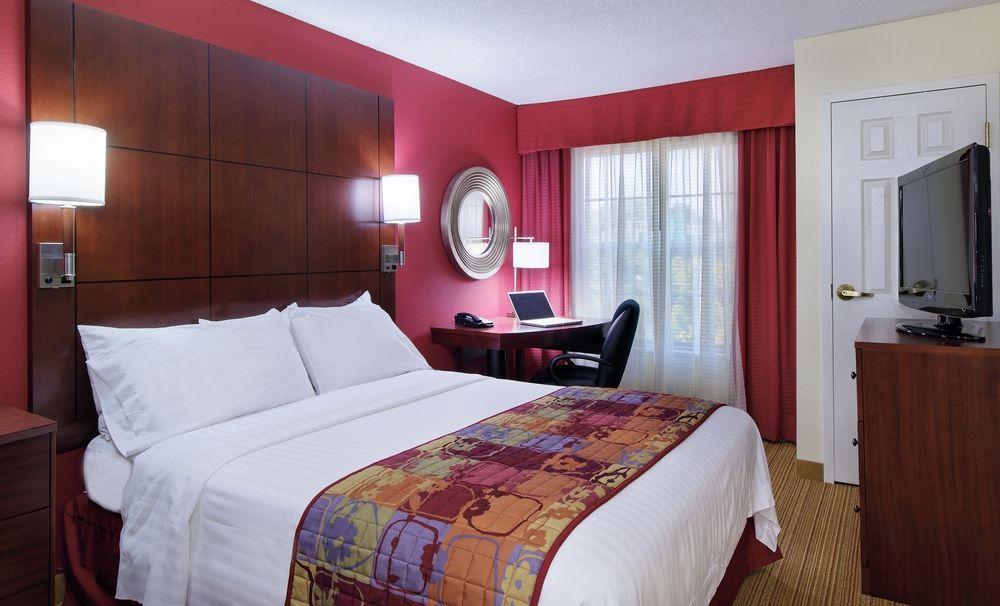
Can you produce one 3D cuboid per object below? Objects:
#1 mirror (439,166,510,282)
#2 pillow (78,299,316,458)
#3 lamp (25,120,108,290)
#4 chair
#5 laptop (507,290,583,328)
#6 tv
[{"bbox_3d":[-0.229,-0.778,6.038,0.105,1.046,1.118,4,12,32],"label":"mirror"},{"bbox_3d":[-1.810,0.450,3.716,1.138,0.713,0.587,-7,7,-36],"label":"pillow"},{"bbox_3d":[-2.477,-0.559,3.520,0.399,0.925,0.251,-7,8,-34],"label":"lamp"},{"bbox_3d":[0.771,0.362,5.493,0.870,0.967,0.816,2,-1,16],"label":"chair"},{"bbox_3d":[0.415,0.071,5.885,0.451,0.268,0.460,1,2,44],"label":"laptop"},{"bbox_3d":[2.577,-0.348,3.586,0.401,1.054,0.774,-1,6,18],"label":"tv"}]
